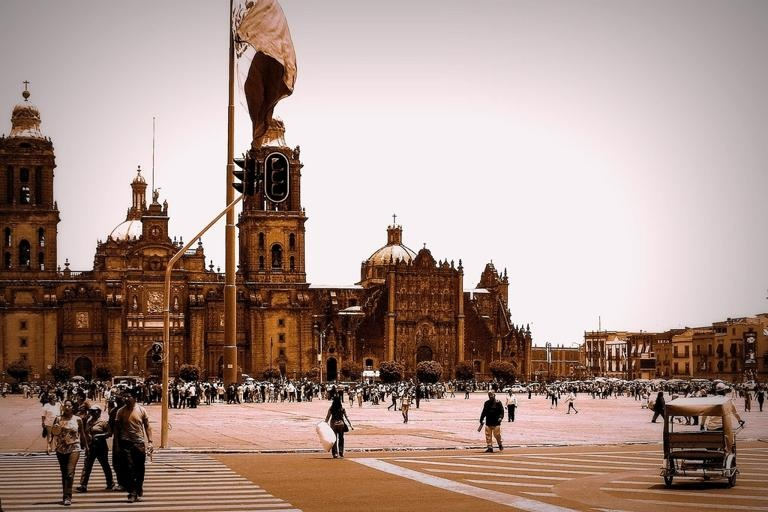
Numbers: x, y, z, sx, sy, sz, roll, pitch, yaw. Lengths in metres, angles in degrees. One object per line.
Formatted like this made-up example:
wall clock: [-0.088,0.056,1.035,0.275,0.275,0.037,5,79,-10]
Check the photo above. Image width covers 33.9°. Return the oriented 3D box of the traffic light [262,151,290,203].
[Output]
traffic light: [-3.914,-2.909,45.757,0.902,1.860,0.582,0,-10,-8]

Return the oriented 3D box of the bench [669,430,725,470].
bench: [10.784,6.609,43.555,1.493,0.955,1.471,0,-4,12]
